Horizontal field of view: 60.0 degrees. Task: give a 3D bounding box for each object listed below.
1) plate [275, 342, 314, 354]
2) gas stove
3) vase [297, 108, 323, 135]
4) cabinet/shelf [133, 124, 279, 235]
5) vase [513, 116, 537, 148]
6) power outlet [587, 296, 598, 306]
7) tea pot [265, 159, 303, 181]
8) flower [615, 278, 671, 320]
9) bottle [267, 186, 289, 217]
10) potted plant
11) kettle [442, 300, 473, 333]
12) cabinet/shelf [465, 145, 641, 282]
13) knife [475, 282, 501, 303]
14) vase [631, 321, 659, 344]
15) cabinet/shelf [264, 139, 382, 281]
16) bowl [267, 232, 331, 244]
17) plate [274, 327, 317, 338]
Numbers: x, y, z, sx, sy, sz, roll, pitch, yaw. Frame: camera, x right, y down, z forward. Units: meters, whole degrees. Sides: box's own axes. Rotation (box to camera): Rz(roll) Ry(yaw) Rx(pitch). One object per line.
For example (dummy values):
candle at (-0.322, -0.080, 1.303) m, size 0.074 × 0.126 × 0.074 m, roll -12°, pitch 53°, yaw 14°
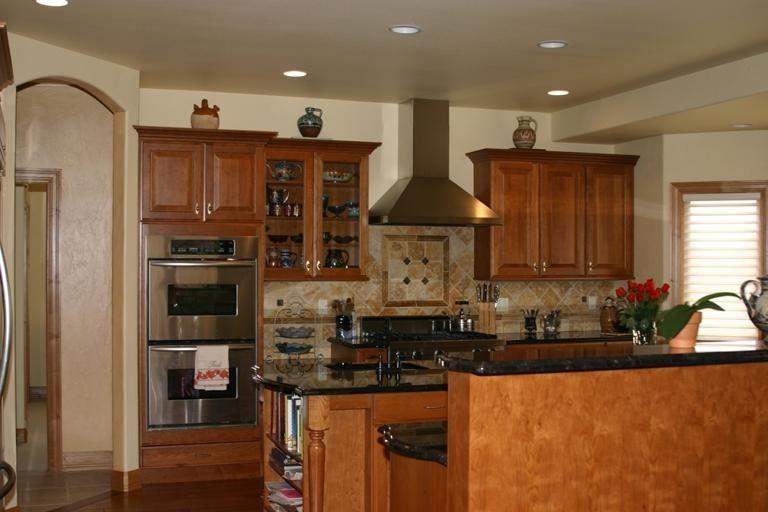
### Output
plate at (-0.875, 0.891, 6.429) m, size 0.303 × 0.114 × 0.369 m, roll 0°, pitch -2°, yaw -15°
gas stove at (0.461, 0.863, 6.520) m, size 1.290 × 0.244 × 0.500 m, roll 0°, pitch -2°, yaw -10°
vase at (-0.720, -1.275, 6.470) m, size 0.321 × 0.317 × 0.286 m, roll 0°, pitch -1°, yaw -10°
cabinet/shelf at (-1.643, -0.684, 5.981) m, size 1.191 × 0.765 × 0.400 m, roll 0°, pitch -2°, yaw -18°
vase at (1.494, -1.314, 7.054) m, size 0.257 × 0.429 × 0.469 m, roll -1°, pitch -2°, yaw 11°
power outlet at (2.336, 0.496, 7.453) m, size 0.128 × 0.110 × 0.042 m, roll 1°, pitch -4°, yaw -16°
tea pot at (-0.946, -0.812, 6.301) m, size 0.292 × 0.148 × 0.177 m, roll 1°, pitch 1°, yaw -4°
flower at (1.472, 0.251, 3.749) m, size 0.273 × 0.276 × 0.297 m, roll -2°, pitch 7°, yaw 33°
bottle at (-1.001, -0.516, 6.300) m, size 0.306 × 0.259 × 0.184 m, roll 1°, pitch -5°, yaw -7°
potted plant at (2.350, 0.469, 4.833) m, size 0.650 × 0.330 × 0.619 m, roll -1°, pitch 3°, yaw -28°
kettle at (0.738, 0.654, 7.078) m, size 0.271 × 0.336 × 0.360 m, roll 1°, pitch -5°, yaw -2°
cabinet/shelf at (1.703, -0.437, 6.968) m, size 1.656 × 1.074 × 0.523 m, roll 0°, pitch -2°, yaw -17°
knife at (1.108, 0.387, 7.124) m, size 0.244 × 0.212 × 0.069 m, roll 1°, pitch 3°, yaw 3°
vase at (1.446, 0.426, 3.720) m, size 0.136 × 0.130 × 0.132 m, roll 0°, pitch -4°, yaw -3°
cabinet/shelf at (-0.631, -0.444, 6.385) m, size 1.576 × 1.335 × 0.437 m, roll 1°, pitch -3°, yaw -18°
bowl at (-0.793, -0.180, 6.348) m, size 0.626 × 0.100 × 0.031 m, roll 0°, pitch -2°, yaw -18°
plate at (-0.864, 0.753, 6.510) m, size 0.384 × 0.122 × 0.251 m, roll 0°, pitch -2°, yaw -7°
